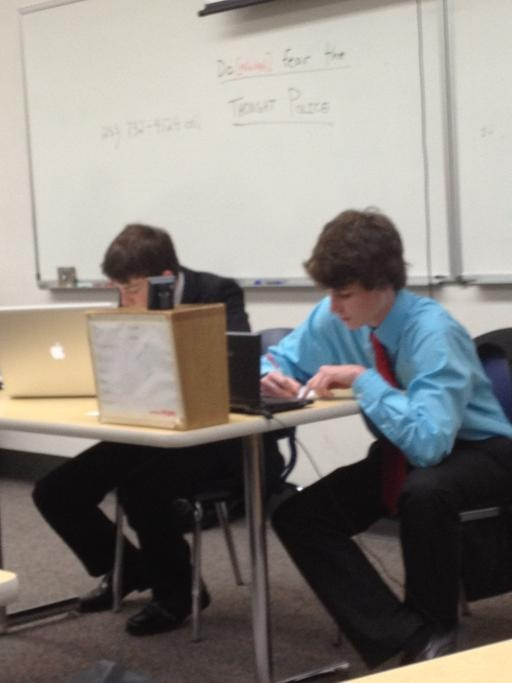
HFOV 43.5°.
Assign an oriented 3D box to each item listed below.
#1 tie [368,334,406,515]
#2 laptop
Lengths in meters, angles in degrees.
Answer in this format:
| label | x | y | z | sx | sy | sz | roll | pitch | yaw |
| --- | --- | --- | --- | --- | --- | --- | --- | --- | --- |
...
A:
| label | x | y | z | sx | sy | sz | roll | pitch | yaw |
| --- | --- | --- | --- | --- | --- | --- | --- | --- | --- |
| tie | 0.305 | 0.203 | 1.418 | 0.036 | 0.436 | 0.054 | -11 | 18 | -42 |
| laptop | -0.016 | 0.057 | 1.148 | 0.183 | 0.123 | 0.188 | 2 | 0 | -29 |
